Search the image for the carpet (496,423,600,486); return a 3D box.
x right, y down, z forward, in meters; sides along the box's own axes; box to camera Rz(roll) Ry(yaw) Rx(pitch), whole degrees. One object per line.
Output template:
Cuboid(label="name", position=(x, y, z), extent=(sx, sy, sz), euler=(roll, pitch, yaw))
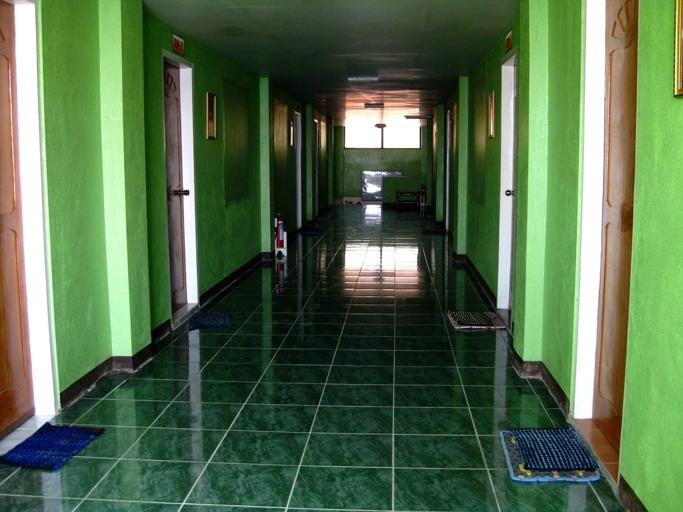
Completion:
Cuboid(label="carpet", position=(1.255, 1.214, 3.470), extent=(0.546, 0.075, 0.516), euler=(0, 11, 1))

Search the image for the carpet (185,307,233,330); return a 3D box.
Cuboid(label="carpet", position=(-1.416, 0.684, 6.037), extent=(0.264, 0.126, 0.224), euler=(-1, 10, 1))

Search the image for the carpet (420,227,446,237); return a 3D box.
Cuboid(label="carpet", position=(2.093, -0.566, 12.887), extent=(0.525, 0.043, 1.073), euler=(1, 11, 7))

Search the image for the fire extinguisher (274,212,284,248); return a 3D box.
Cuboid(label="fire extinguisher", position=(-1.116, -0.458, 10.105), extent=(0.165, 0.603, 0.315), euler=(-1, 9, -6))
